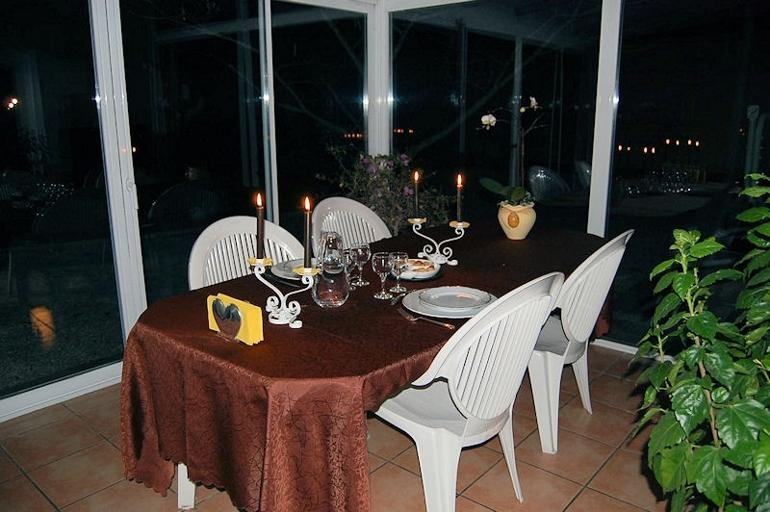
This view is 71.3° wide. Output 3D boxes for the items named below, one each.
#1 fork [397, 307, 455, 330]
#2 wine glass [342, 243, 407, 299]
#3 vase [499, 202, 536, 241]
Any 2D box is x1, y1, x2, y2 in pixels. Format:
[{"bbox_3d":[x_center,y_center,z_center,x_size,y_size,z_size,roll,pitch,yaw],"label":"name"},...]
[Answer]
[{"bbox_3d":[0.188,0.277,2.360,0.176,0.025,0.031,17,39,20],"label":"fork"},{"bbox_3d":[-0.057,0.085,2.681,0.255,0.165,0.100,10,16,41],"label":"wine glass"},{"bbox_3d":[0.843,-0.256,3.487,0.235,0.252,0.235,8,18,30],"label":"vase"}]
